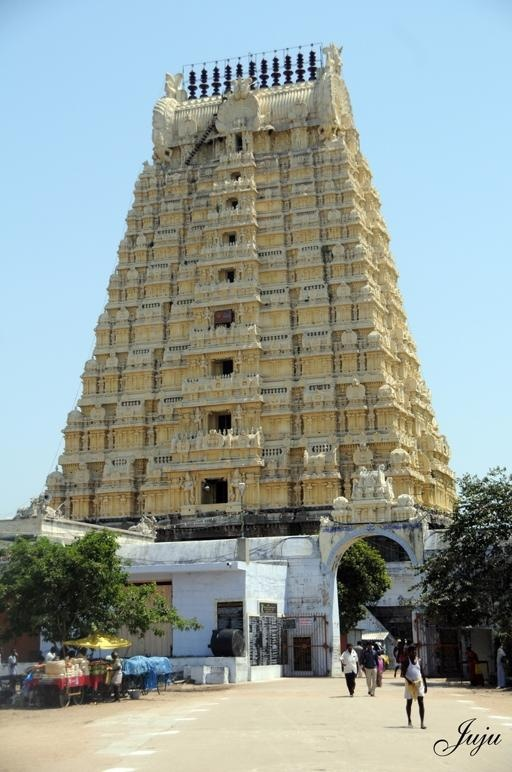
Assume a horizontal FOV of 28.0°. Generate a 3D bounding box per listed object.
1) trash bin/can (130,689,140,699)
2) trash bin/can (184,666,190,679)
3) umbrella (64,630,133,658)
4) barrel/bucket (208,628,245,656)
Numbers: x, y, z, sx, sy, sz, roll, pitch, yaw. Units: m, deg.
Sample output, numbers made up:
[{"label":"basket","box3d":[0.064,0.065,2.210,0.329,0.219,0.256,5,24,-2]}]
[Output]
[{"label":"trash bin/can","box3d":[-3.217,8.214,27.169,0.246,0.150,0.230,1,-7,-3]},{"label":"trash bin/can","box3d":[-2.206,9.132,32.517,0.136,0.363,0.228,4,-22,-7]},{"label":"umbrella","box3d":[-4.757,7.683,30.277,2.321,0.794,2.191,5,-9,-24]},{"label":"barrel/bucket","box3d":[-0.990,8.299,32.789,0.896,0.929,0.977,0,-21,0]}]
